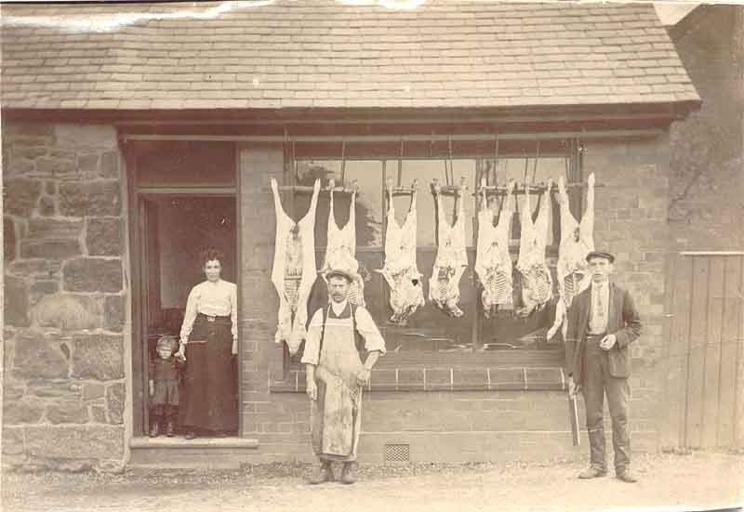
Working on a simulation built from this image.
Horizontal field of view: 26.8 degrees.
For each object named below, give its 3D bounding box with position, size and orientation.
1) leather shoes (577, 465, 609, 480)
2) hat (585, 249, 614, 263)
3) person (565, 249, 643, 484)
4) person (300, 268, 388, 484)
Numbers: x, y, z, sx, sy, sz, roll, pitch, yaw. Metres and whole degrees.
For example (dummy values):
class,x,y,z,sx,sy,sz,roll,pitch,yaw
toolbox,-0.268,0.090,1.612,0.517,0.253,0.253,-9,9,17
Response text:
class,x,y,z,sx,sy,sz,roll,pitch,yaw
leather shoes,2.386,2.369,16.945,0.306,0.100,0.147,0,-1,1
hat,2.468,0.010,16.881,0.212,0.054,0.180,7,-8,-36
person,2.498,1.212,16.877,0.811,2.466,0.485,0,-8,5
person,-0.334,1.181,16.815,0.838,2.047,0.376,1,-8,-1
